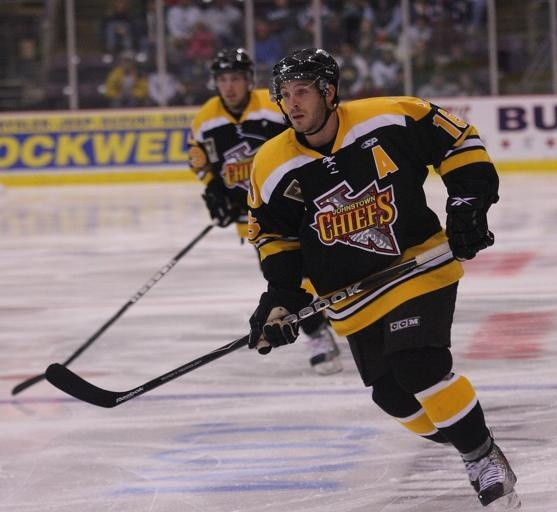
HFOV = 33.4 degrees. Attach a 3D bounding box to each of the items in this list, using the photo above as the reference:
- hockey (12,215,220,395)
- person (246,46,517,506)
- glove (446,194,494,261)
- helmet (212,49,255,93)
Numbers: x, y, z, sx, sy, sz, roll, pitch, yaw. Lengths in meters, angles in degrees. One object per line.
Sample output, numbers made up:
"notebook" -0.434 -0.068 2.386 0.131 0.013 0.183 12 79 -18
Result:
"hockey" -0.785 0.253 4.382 1.626 0.065 0.208 -28 5 -14
"person" 0.309 0.050 2.924 0.873 1.409 0.433 0 10 13
"glove" 0.575 -0.092 2.787 0.211 0.167 0.072 0 -2 6
"helmet" -0.217 -0.889 4.351 0.210 0.155 0.197 -1 -16 -2
